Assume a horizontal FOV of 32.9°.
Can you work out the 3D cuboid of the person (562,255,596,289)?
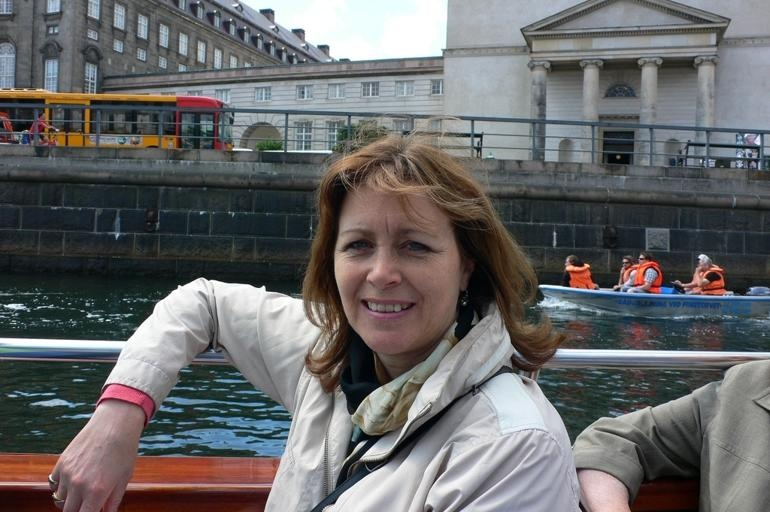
[{"bbox_3d":[7.150,0.745,47.333,0.921,1.401,1.145,2,15,42],"label":"person"}]
